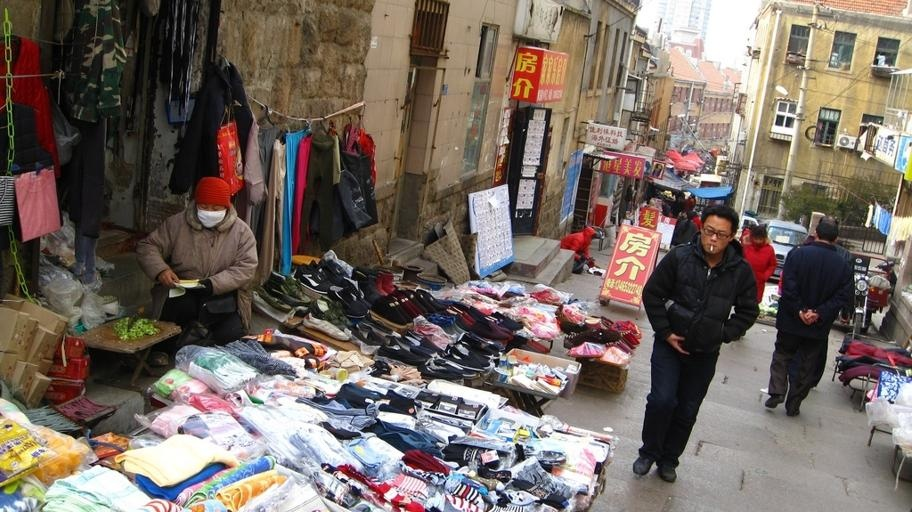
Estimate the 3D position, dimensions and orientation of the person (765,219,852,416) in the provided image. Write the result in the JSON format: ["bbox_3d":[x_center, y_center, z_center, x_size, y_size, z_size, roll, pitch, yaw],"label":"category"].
[{"bbox_3d":[5.100,0.920,8.737,0.954,2.871,0.683,11,15,8],"label":"person"}]

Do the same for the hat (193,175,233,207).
[{"bbox_3d":[-2.729,-0.726,6.730,0.301,0.296,0.397,0,1,-35],"label":"hat"}]

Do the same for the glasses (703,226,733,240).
[{"bbox_3d":[2.849,-0.240,6.490,0.304,0.106,0.095,10,14,8],"label":"glasses"}]

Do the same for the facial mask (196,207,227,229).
[{"bbox_3d":[-2.762,-0.438,6.748,0.241,0.141,0.243,4,28,-10],"label":"facial mask"}]

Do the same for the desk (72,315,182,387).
[{"bbox_3d":[-3.391,0.881,6.239,0.814,0.471,0.749,7,16,0],"label":"desk"}]
